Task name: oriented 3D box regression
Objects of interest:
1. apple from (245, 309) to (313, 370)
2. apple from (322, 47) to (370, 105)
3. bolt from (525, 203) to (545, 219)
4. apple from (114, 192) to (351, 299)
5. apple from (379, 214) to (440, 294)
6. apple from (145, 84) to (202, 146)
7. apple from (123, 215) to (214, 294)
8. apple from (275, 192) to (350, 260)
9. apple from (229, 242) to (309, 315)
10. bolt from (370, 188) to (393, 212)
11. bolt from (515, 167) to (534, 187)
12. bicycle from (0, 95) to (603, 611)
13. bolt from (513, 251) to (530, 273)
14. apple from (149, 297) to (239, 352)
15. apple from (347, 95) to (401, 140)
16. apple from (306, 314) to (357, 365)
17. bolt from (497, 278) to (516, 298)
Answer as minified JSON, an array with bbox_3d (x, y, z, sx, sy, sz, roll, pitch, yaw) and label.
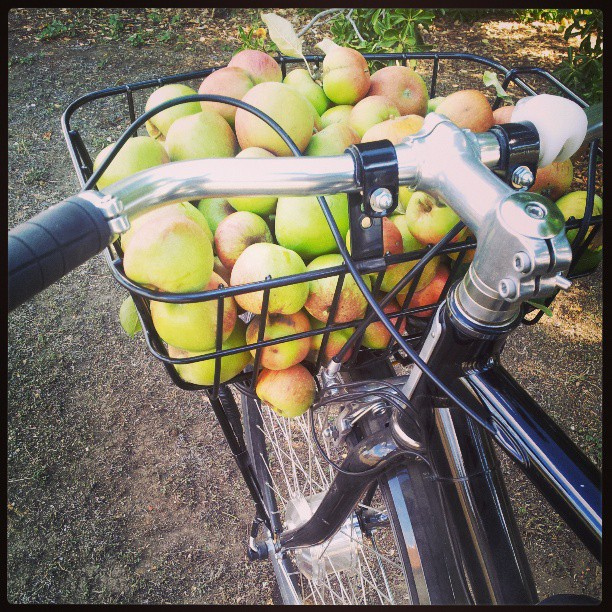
[{"bbox_3d":[-0.031,0.049,0.778,0.072,0.082,0.084,33,76,14],"label":"apple"},{"bbox_3d":[0.069,-0.396,0.995,0.074,0.116,0.092,1,0,4],"label":"apple"},{"bbox_3d":[0.194,-0.080,0.487,0.011,0.004,0.015,2,76,11],"label":"bolt"},{"bbox_3d":[-0.088,-0.079,0.734,0.216,0.102,0.179,-13,16,-4],"label":"apple"},{"bbox_3d":[0.136,-0.049,0.839,0.090,0.114,0.117,-7,-2,28],"label":"apple"},{"bbox_3d":[-0.242,-0.314,0.963,0.050,0.069,0.061,-9,56,-6],"label":"apple"},{"bbox_3d":[-0.160,-0.056,0.666,0.081,0.105,0.088,3,-8,-11],"label":"apple"},{"bbox_3d":[0.007,-0.106,0.790,0.075,0.098,0.092,-2,70,-18],"label":"apple"},{"bbox_3d":[-0.040,-0.029,0.758,0.072,0.090,0.089,-2,28,-10],"label":"apple"},{"bbox_3d":[0.076,-0.100,0.545,0.017,0.021,0.005,15,8,-11],"label":"bolt"},{"bbox_3d":[0.224,-0.129,0.585,0.017,0.020,0.006,-25,9,8],"label":"bolt"},{"bbox_3d":[0.028,0.071,0.783,0.541,0.319,0.634,-9,53,-14],"label":"bicycle"},{"bbox_3d":[0.183,-0.037,0.486,0.004,0.015,0.013,-3,20,-10],"label":"bolt"},{"bbox_3d":[-0.146,0.040,0.750,0.070,0.087,0.087,-8,64,40],"label":"apple"},{"bbox_3d":[0.114,-0.319,0.968,0.066,0.085,0.088,-7,22,-1],"label":"apple"},{"bbox_3d":[0.043,0.038,0.852,0.061,0.075,0.076,-1,4,31],"label":"apple"},{"bbox_3d":[0.179,-0.016,0.510,0.004,0.016,0.014,-1,6,-11],"label":"bolt"}]
